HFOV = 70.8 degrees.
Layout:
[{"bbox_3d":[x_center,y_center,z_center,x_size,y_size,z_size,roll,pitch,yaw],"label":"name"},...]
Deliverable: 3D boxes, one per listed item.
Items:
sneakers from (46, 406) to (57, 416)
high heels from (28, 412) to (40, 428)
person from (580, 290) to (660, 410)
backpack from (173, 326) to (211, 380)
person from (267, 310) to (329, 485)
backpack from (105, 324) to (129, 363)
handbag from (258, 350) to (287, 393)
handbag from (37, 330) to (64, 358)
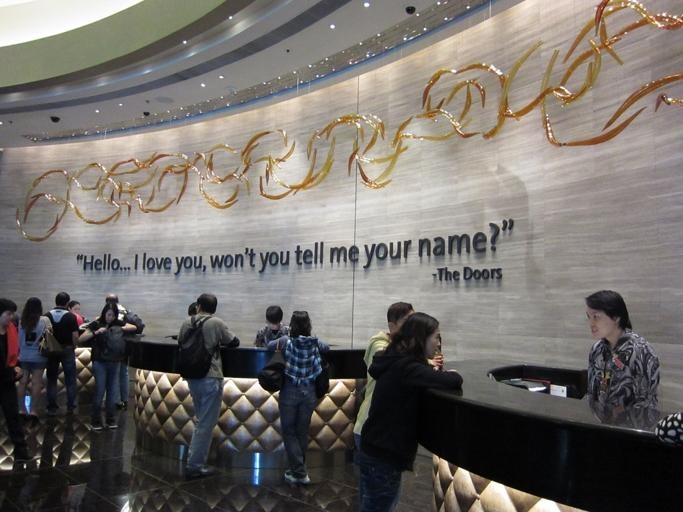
[{"bbox_3d":[-4.084,2.172,6.794,0.124,0.101,0.138,-1,-2,31],"label":"sneakers"},{"bbox_3d":[-4.049,2.167,6.328,0.154,0.186,0.154,7,-11,-30],"label":"high heels"},{"bbox_3d":[1.878,0.612,3.280,0.281,0.747,0.523,3,-3,-19],"label":"person"},{"bbox_3d":[-1.455,0.936,4.762,0.324,0.558,0.158,2,-3,-7],"label":"backpack"},{"bbox_3d":[-0.411,1.381,4.684,0.439,1.675,0.277,2,-3,2],"label":"person"},{"bbox_3d":[-2.949,1.132,6.277,0.323,0.423,0.150,2,-6,-21],"label":"backpack"},{"bbox_3d":[-0.656,1.091,4.566,0.252,0.373,0.120,2,-3,-7],"label":"handbag"},{"bbox_3d":[-3.885,1.152,6.391,0.215,0.406,0.384,-6,-5,-2],"label":"handbag"}]
